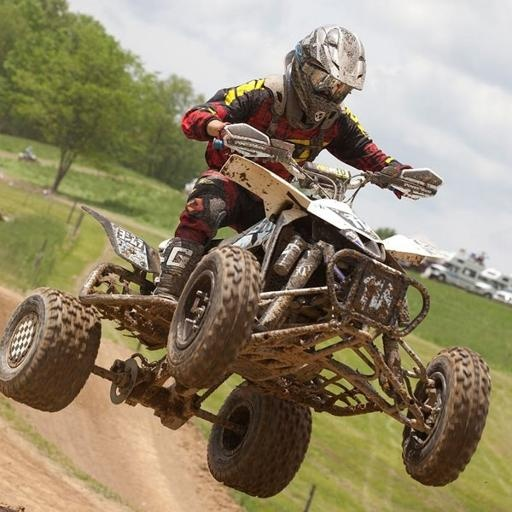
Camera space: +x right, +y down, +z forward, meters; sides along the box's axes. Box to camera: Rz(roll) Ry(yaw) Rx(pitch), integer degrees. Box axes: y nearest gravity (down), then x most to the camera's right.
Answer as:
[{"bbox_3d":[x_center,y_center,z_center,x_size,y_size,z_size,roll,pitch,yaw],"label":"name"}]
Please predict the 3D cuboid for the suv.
[{"bbox_3d":[-0.254,0.493,12.158,3.578,3.205,4.751,31,-29,-18],"label":"suv"}]
